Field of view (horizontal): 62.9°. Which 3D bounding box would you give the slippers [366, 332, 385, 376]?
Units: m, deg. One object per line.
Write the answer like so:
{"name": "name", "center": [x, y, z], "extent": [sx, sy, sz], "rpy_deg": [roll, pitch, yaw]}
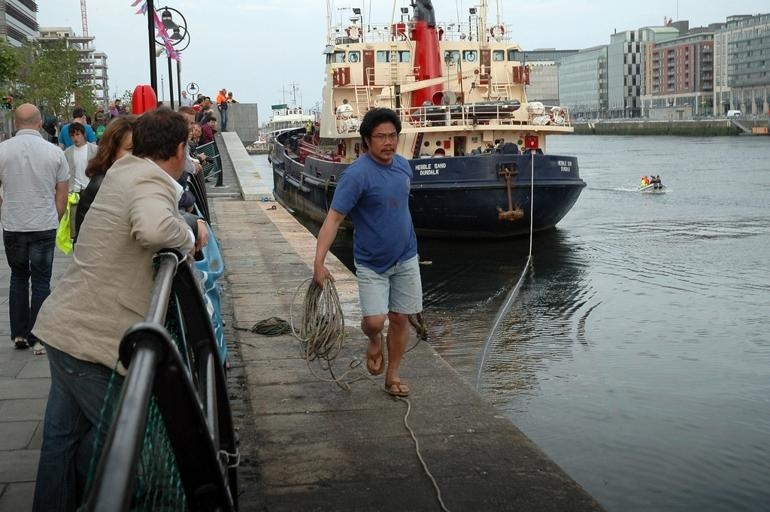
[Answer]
{"name": "slippers", "center": [-0.075, 0.822, 5.279], "extent": [0.140, 0.376, 0.090], "rpy_deg": [2, 22, 3]}

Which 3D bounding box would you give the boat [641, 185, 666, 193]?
{"name": "boat", "center": [13.083, -3.264, 30.441], "extent": [0.631, 0.306, 1.026], "rpy_deg": [-3, 2, 6]}

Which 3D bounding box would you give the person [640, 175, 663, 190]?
{"name": "person", "center": [13.091, -3.554, 31.174], "extent": [0.929, 0.683, 1.512], "rpy_deg": [0, 7, 4]}

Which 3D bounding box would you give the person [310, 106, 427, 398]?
{"name": "person", "center": [-0.111, 0.127, 5.064], "extent": [0.832, 1.996, 0.442], "rpy_deg": [-1, 10, -3]}
